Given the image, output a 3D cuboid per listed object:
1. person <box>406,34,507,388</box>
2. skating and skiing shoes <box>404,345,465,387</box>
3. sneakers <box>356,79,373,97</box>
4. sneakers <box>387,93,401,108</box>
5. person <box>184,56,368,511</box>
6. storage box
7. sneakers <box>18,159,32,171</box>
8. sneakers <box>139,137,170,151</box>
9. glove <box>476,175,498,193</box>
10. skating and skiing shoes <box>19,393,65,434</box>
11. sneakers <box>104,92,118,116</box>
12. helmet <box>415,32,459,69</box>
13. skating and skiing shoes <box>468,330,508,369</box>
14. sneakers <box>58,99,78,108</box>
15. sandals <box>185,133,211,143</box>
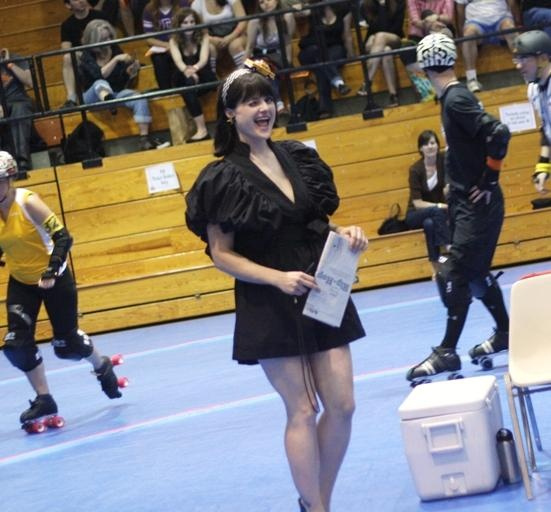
[{"bbox_3d":[1.154,-0.339,5.335,0.700,2.117,0.546,-9,9,8],"label":"person"},{"bbox_3d":[1.001,0.685,5.346,0.459,0.231,0.161,-13,12,-3],"label":"skating and skiing shoes"},{"bbox_3d":[1.040,-1.948,9.818,0.107,0.140,0.335,-1,-3,8],"label":"sneakers"},{"bbox_3d":[1.365,-1.789,9.706,0.134,0.169,0.660,-9,8,10],"label":"sneakers"},{"bbox_3d":[0.064,0.170,3.814,0.692,2.130,0.530,-15,10,-29],"label":"person"},{"bbox_3d":[0.871,0.875,4.085,0.465,0.447,0.441,-8,8,13],"label":"storage box"},{"bbox_3d":[-2.902,-1.046,9.749,0.130,0.138,0.148,-1,7,-1],"label":"sneakers"},{"bbox_3d":[-1.449,-1.291,9.811,0.427,0.166,0.150,-2,4,2],"label":"sneakers"},{"bbox_3d":[1.300,-0.446,5.190,0.080,0.057,0.104,12,-44,-28],"label":"glove"},{"bbox_3d":[-1.660,1.107,5.894,0.199,0.260,0.289,-16,-6,41],"label":"skating and skiing shoes"},{"bbox_3d":[-1.944,-1.778,9.964,0.115,0.175,0.093,-5,0,-20],"label":"sneakers"},{"bbox_3d":[1.019,-1.279,5.329,0.198,0.196,0.244,-3,42,11],"label":"helmet"},{"bbox_3d":[1.401,0.587,5.476,0.329,0.237,0.117,-10,6,-16],"label":"skating and skiing shoes"},{"bbox_3d":[-2.466,-1.775,9.962,0.136,0.098,0.252,-1,0,5],"label":"sneakers"},{"bbox_3d":[-0.896,-1.339,9.672,0.299,0.106,0.104,-9,6,-11],"label":"sandals"}]
